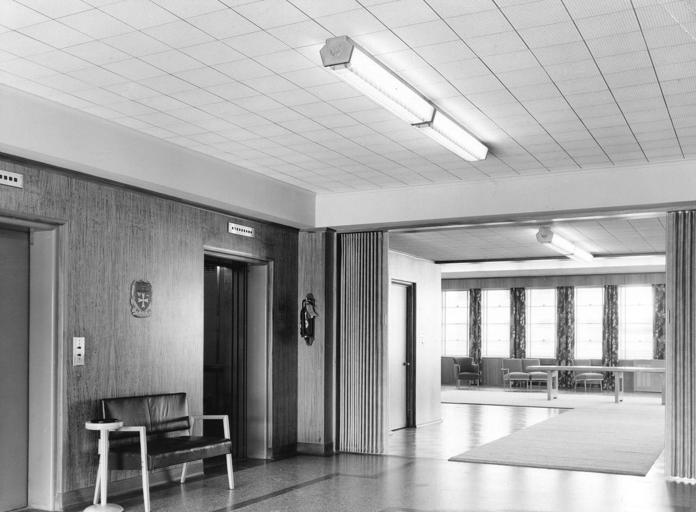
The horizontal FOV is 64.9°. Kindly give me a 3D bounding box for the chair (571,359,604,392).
[{"bbox_3d":[8.386,4.162,19.061,0.930,1.353,1.042,4,-13,-10],"label":"chair"}]

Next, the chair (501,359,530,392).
[{"bbox_3d":[6.253,4.238,19.611,1.029,1.341,1.042,1,-11,-2],"label":"chair"}]

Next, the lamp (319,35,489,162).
[{"bbox_3d":[0.436,-1.397,4.670,0.376,0.220,2.759,19,-2,22],"label":"lamp"}]

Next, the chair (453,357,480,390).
[{"bbox_3d":[4.288,4.262,20.216,1.071,1.367,1.190,1,-10,-3],"label":"chair"}]

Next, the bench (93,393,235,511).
[{"bbox_3d":[-1.999,2.103,6.046,0.928,1.148,1.551,-4,-7,22],"label":"bench"}]
